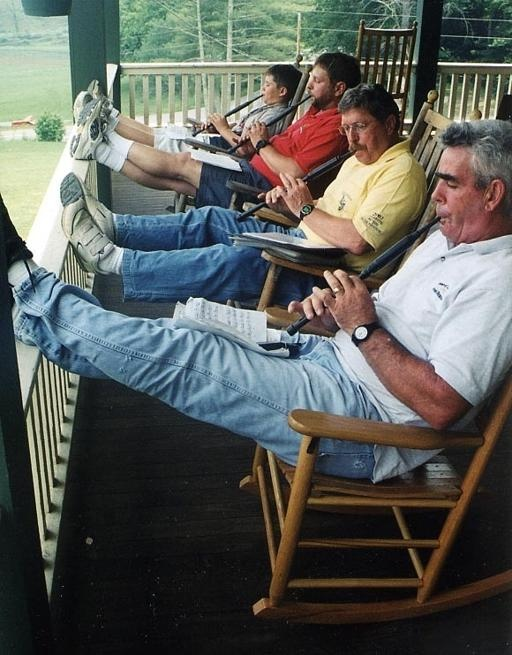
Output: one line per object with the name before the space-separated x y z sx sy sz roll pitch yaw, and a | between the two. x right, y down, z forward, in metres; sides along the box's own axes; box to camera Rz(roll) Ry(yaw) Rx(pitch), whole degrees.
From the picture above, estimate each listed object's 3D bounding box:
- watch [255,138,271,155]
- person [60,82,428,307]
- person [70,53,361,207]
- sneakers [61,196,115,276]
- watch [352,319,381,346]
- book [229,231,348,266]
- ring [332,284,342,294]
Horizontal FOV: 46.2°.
watch | 0.037 -0.936 3.095 0.095 0.051 0.078 2 -16 -10
person | -0.031 -0.499 2.309 1.359 0.693 0.553 -6 38 -10
person | -0.194 -1.078 3.171 1.493 0.789 0.641 7 39 -2
sneakers | -0.614 -0.318 2.237 0.142 0.323 0.122 27 66 40
watch | 0.259 0.014 1.434 0.082 0.043 0.069 -23 -15 2
book | 0.151 -0.276 2.119 0.230 0.045 0.202 -1 13 -35
ring | 0.207 -0.098 1.533 0.027 0.011 0.028 -27 26 15
